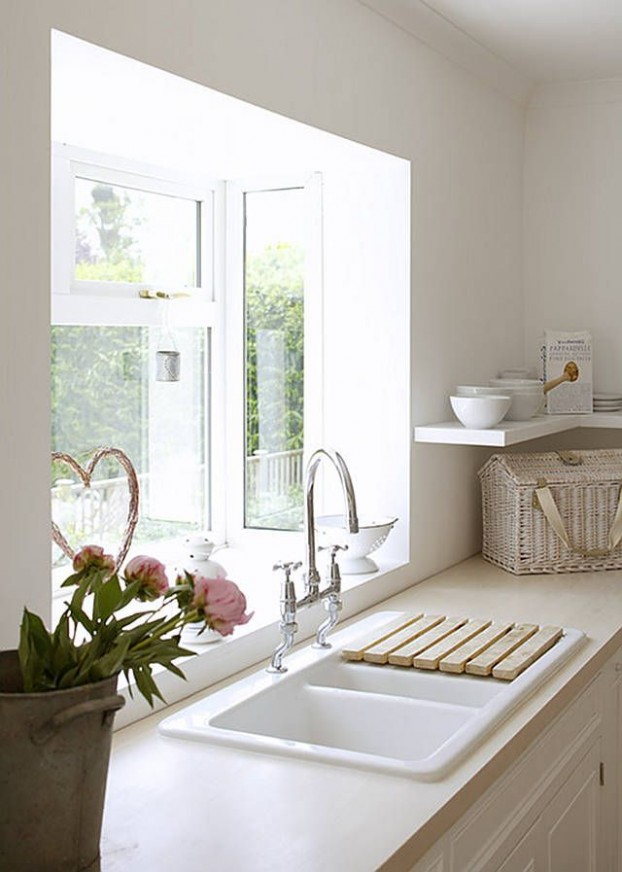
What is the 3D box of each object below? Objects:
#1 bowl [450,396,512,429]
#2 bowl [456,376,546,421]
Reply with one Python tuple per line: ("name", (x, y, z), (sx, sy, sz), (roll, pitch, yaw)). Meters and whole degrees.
("bowl", (0.449, -0.062, 2.065), (0.144, 0.088, 0.109), (-1, 1, 21))
("bowl", (0.578, -0.113, 2.258), (0.170, 0.086, 0.189), (-1, 0, 23))
